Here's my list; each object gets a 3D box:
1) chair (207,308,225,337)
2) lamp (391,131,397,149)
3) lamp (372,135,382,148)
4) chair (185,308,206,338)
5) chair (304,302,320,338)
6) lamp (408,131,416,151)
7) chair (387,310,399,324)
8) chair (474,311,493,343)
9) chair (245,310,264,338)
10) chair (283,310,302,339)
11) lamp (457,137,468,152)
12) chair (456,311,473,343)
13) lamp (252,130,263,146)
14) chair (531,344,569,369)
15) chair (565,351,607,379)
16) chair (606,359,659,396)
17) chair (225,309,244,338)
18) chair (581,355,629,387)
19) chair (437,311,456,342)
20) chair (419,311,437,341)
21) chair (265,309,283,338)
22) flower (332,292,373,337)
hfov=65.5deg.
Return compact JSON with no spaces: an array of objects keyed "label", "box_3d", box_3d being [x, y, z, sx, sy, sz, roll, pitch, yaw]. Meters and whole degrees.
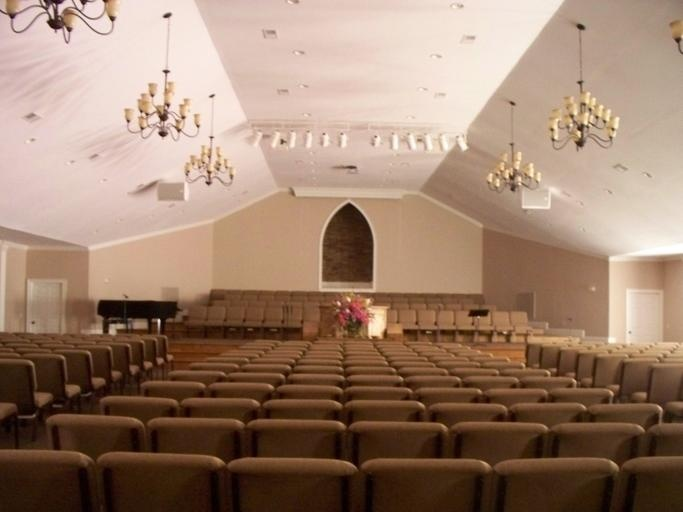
[{"label":"chair","box_3d":[-3.806,1.998,16.093,0.535,0.902,0.604,3,-6,-14]},{"label":"lamp","box_3d":[1.368,-3.024,13.730,0.137,0.388,0.406,1,-6,7]},{"label":"lamp","box_3d":[0.941,-3.076,14.162,0.284,0.240,0.454,2,-5,-2]},{"label":"chair","box_3d":[-4.493,2.032,16.425,0.768,1.002,0.947,1,-4,-5]},{"label":"chair","box_3d":[-0.897,1.843,14.890,0.634,1.042,1.018,0,-1,-3]},{"label":"lamp","box_3d":[1.825,-3.017,13.774,0.284,0.469,0.277,-8,32,11]},{"label":"chair","box_3d":[1.592,1.898,16.430,0.347,0.333,0.328,-2,-49,2]},{"label":"chair","box_3d":[4.337,2.171,16.223,0.659,0.901,0.602,2,-6,-1]},{"label":"chair","box_3d":[-2.671,2.027,16.117,0.569,0.914,0.513,3,-6,-8]},{"label":"chair","box_3d":[-1.508,2.118,16.497,0.762,1.314,0.741,0,-6,-5]},{"label":"lamp","box_3d":[3.181,-2.938,13.900,0.190,0.320,0.188,-13,24,48]},{"label":"chair","box_3d":[3.762,2.149,16.204,0.543,0.931,0.521,1,-6,9]},{"label":"lamp","box_3d":[-2.169,-3.023,13.674,0.244,0.426,0.818,2,-6,-7]},{"label":"chair","box_3d":[3.630,1.760,9.245,0.341,0.431,0.463,4,-9,18]},{"label":"chair","box_3d":[3.780,1.690,8.370,0.452,0.607,0.484,3,-5,8]},{"label":"chair","box_3d":[3.930,1.631,7.194,0.574,0.602,0.561,3,-3,-2]},{"label":"chair","box_3d":[-3.239,2.021,16.098,0.563,0.910,0.514,3,-6,-11]},{"label":"chair","box_3d":[3.802,1.648,7.702,0.447,0.593,0.493,3,-2,4]},{"label":"chair","box_3d":[3.200,2.121,16.148,0.534,0.885,0.620,1,-6,8]},{"label":"chair","box_3d":[2.661,2.092,16.285,0.751,0.955,0.748,1,-14,2]},{"label":"chair","box_3d":[-2.088,2.035,16.148,0.573,0.920,0.671,2,-6,-6]},{"label":"flower","box_3d":[0.264,1.292,11.825,0.978,0.961,0.896,0,-1,11]}]
